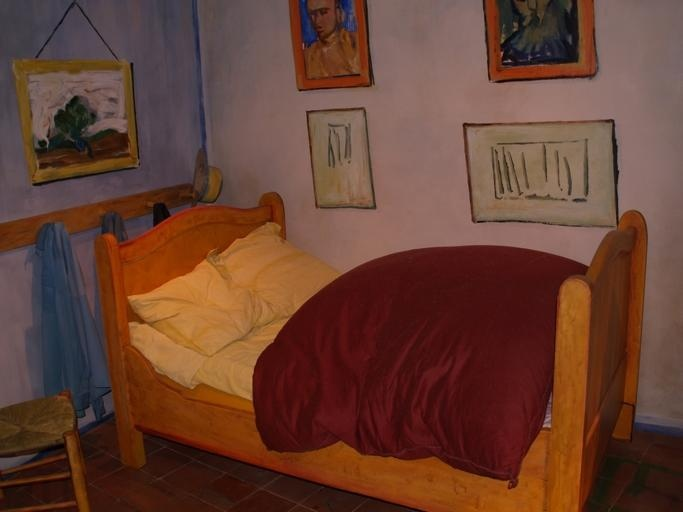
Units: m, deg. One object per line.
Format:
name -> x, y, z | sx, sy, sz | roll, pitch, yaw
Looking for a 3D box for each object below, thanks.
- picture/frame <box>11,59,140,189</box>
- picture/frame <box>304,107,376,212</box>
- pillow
picture/frame -> -1.736, -0.857, 3.938 | 0.050, 0.760, 0.659 | 13, 26, 39
picture/frame -> 0.008, -0.694, 4.278 | 0.548, 0.898, 0.092 | 6, 21, 31
pillow -> -0.636, 0.185, 3.914 | 0.660, 0.200, 1.008 | 32, 45, 28
